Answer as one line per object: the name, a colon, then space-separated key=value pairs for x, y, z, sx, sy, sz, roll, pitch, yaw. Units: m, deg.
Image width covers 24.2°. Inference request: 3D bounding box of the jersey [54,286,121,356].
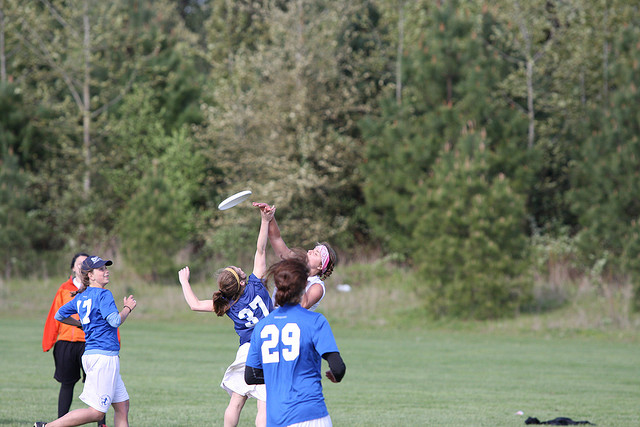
jersey: x=-7.856 y=3.615 z=50.088 sx=2.006 sy=2.048 sz=1.004 roll=0 pitch=3 yaw=28
